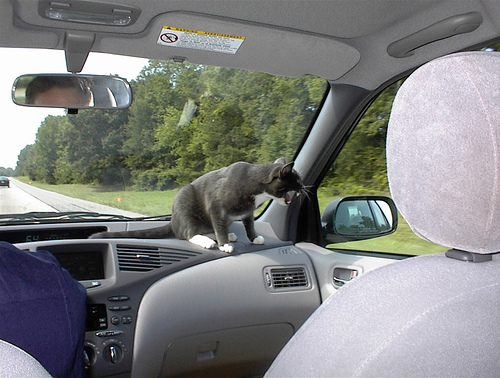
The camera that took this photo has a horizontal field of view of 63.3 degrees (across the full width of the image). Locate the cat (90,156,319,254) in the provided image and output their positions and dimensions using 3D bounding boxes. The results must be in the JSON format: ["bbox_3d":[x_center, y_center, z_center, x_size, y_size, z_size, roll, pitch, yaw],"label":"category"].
[{"bbox_3d":[-0.372,0.101,3.199,1.709,0.610,0.450,2,5,16],"label":"cat"}]
